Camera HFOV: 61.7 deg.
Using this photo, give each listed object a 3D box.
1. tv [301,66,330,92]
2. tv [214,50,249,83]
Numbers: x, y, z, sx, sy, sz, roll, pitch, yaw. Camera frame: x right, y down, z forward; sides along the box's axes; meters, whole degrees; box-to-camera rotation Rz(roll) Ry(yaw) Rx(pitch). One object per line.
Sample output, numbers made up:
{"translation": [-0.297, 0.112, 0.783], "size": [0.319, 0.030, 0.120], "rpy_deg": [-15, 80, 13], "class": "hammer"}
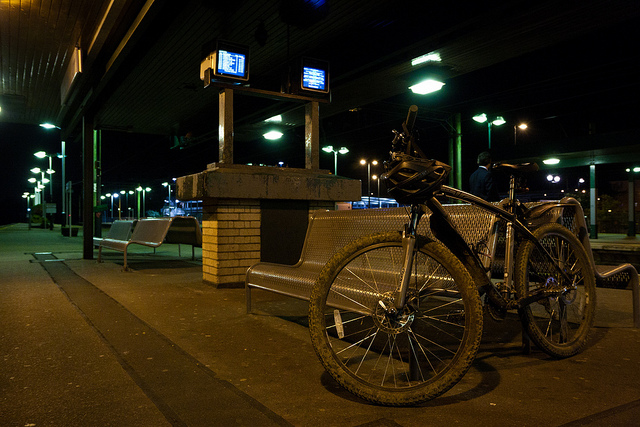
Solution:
{"translation": [-0.127, -2.713, 10.748], "size": [0.642, 0.547, 0.223], "rpy_deg": [1, 3, -32], "class": "tv"}
{"translation": [-1.571, -2.918, 10.200], "size": [0.739, 0.700, 0.418], "rpy_deg": [14, 20, 18], "class": "tv"}
